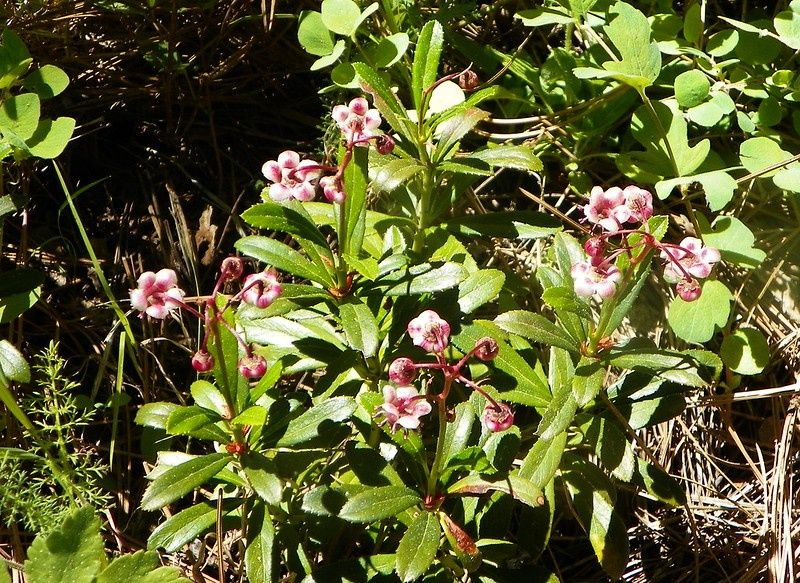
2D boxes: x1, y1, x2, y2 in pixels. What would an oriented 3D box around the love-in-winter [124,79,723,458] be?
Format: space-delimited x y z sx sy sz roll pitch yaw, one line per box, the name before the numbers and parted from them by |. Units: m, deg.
love-in-winter | 0.069 0.163 4.056 1.958 1.898 0.663 11 -19 3
